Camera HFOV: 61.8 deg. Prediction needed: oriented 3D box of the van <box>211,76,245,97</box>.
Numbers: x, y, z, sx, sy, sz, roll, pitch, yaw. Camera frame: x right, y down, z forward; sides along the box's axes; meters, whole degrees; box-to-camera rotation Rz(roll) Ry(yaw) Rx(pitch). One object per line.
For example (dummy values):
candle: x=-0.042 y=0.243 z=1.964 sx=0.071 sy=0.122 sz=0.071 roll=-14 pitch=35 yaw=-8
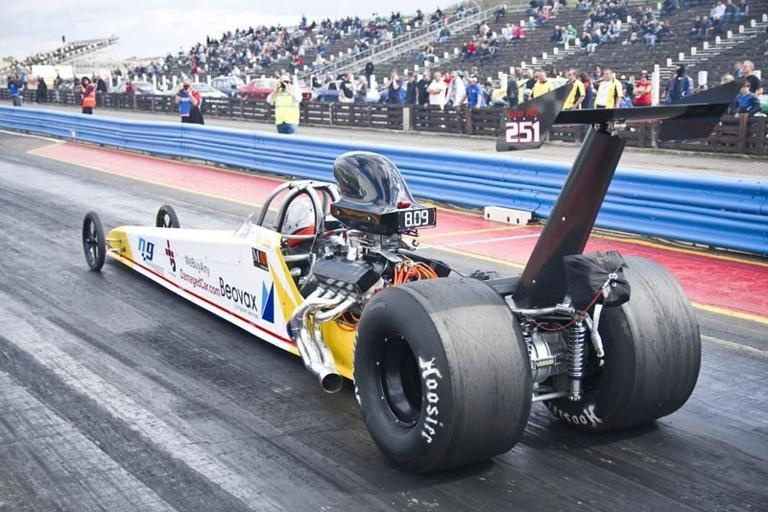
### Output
van: x=-10.205 y=-10.885 z=42.405 sx=2.827 sy=1.422 sz=1.559 roll=20 pitch=26 yaw=40

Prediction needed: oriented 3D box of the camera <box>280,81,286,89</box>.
camera: x=-2.837 y=-4.768 z=18.017 sx=0.072 sy=0.218 sz=0.158 roll=-6 pitch=34 yaw=-41
